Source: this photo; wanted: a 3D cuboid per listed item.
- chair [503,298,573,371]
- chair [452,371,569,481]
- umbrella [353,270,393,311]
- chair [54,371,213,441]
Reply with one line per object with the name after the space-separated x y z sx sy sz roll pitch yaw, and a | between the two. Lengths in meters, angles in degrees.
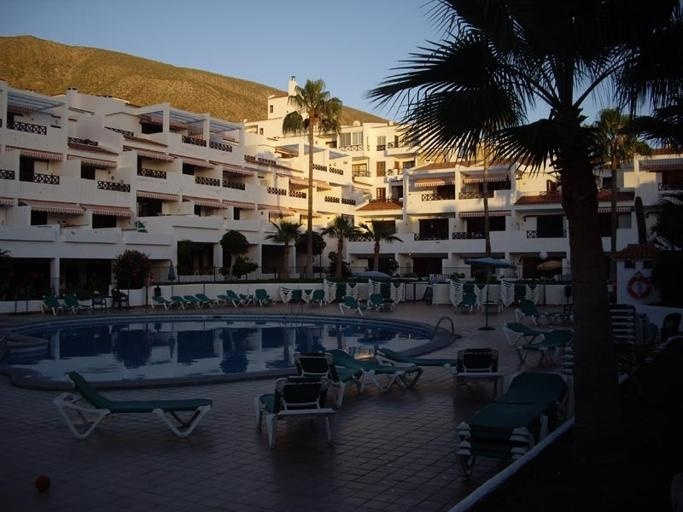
5.226 2.176 16.603 1.345 1.563 4.148 -1 -2 4 | chair
2.277 2.074 8.114 0.834 0.736 1.816 -8 3 30 | chair
1.662 1.707 31.077 1.871 1.916 1.882 0 -5 -3 | umbrella
-3.127 2.217 9.270 2.793 1.058 1.056 0 2 -4 | chair
